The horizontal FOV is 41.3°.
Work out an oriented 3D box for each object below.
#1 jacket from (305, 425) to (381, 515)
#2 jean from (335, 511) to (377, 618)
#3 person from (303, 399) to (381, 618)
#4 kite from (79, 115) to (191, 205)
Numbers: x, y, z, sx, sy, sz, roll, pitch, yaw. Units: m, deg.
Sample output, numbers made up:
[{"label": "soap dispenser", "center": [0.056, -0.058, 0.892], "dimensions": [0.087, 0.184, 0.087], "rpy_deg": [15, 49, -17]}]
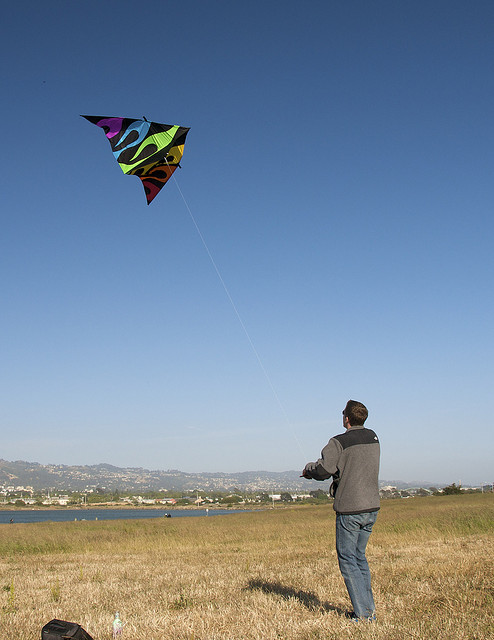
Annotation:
[{"label": "jacket", "center": [1.229, 1.817, 8.077], "dimensions": [0.819, 1.104, 0.700], "rpy_deg": [-3, -1, -21]}, {"label": "jean", "center": [1.302, 2.879, 7.735], "dimensions": [0.480, 1.197, 0.371], "rpy_deg": [0, -12, -3]}, {"label": "person", "center": [1.205, 2.235, 7.859], "dimensions": [0.785, 2.523, 0.425], "rpy_deg": [-2, -12, 6]}, {"label": "kite", "center": [-1.623, -2.965, 12.056], "dimensions": [1.565, 1.005, 1.584], "rpy_deg": [-5, -14, 21]}]
